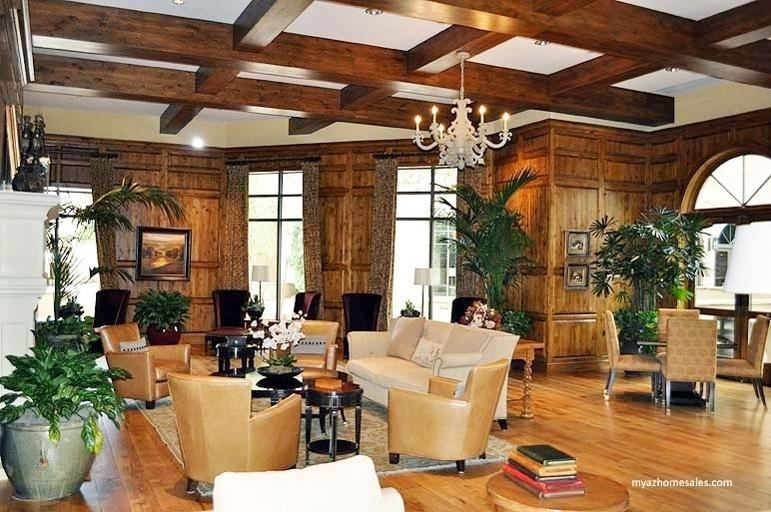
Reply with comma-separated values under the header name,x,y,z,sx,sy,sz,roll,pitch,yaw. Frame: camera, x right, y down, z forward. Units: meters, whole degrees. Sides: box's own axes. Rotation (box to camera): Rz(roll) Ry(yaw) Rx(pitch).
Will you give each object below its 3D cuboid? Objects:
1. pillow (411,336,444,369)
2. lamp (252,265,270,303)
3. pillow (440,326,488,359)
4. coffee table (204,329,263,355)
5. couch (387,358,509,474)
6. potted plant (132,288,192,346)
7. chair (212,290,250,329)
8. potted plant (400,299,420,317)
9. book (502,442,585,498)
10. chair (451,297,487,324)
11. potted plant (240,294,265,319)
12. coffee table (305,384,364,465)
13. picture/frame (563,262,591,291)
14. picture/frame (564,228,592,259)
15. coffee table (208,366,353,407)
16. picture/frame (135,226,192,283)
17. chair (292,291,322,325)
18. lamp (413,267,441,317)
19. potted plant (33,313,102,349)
name,x,y,z,sx,sy,sz,roll,pitch,yaw
pillow,0.580,1.334,7.655,0.114,0.330,0.370,30,-7,-34
lamp,-2.660,0.622,11.938,0.360,0.864,1.085,0,3,-13
pillow,1.012,1.069,7.034,0.415,0.381,0.122,7,-29,46
coffee table,-3.043,1.584,10.705,1.195,0.533,1.003,0,-3,-20
couch,0.676,1.599,6.151,1.240,1.198,1.135,0,-4,23
potted plant,-4.780,1.230,11.466,1.217,1.169,1.254,-3,-6,29
chair,-3.246,1.152,11.928,0.918,0.961,0.734,1,-7,-14
potted plant,0.546,1.023,10.783,0.367,0.441,0.297,4,-1,-21
book,1.180,1.509,4.045,0.324,0.176,0.405,0,1,-18
chair,1.516,1.014,10.276,0.565,0.561,0.617,0,-3,8
potted plant,-2.709,1.068,11.497,0.499,0.445,0.486,5,-7,-27
coffee table,-0.567,1.784,6.120,0.610,0.853,1.086,1,3,-3
picture/frame,3.487,0.388,10.209,0.584,0.492,0.060,0,1,-25
picture/frame,3.505,-0.209,10.228,0.629,0.542,0.046,0,1,-26
coffee table,-1.094,1.404,5.984,1.012,0.223,0.966,0,-2,-2
picture/frame,-4.866,-0.007,12.091,1.287,1.220,0.101,4,-6,-29
chair,-1.526,1.066,11.199,0.701,0.688,0.652,-5,-7,36
lamp,0.793,0.770,11.079,0.422,1.064,1.016,1,4,5
potted plant,-4.667,1.126,8.211,1.030,0.589,0.999,2,-4,-21
